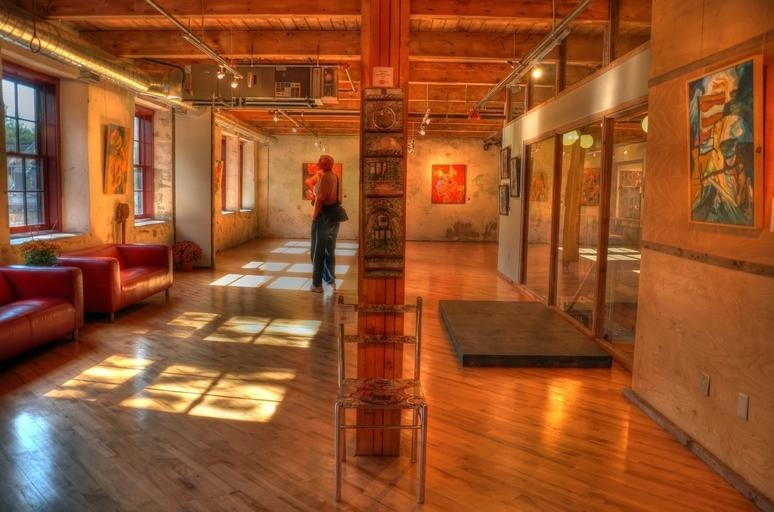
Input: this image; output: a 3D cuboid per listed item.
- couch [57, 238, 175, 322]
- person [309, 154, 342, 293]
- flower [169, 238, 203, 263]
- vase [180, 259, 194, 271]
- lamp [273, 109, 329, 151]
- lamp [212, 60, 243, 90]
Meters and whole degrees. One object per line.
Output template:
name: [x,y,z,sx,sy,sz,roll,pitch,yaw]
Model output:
couch: [-4.304,0.325,8.494,1.033,0.868,1.847,3,8,1]
person: [-1.101,-0.563,9.762,0.562,2.501,0.797,0,13,-8]
flower: [-4.335,-0.123,11.642,0.508,0.343,0.493,0,-1,-11]
vase: [-4.347,0.204,11.644,0.259,0.185,0.226,-1,3,-2]
lamp: [-2.662,-3.916,17.197,1.218,1.125,4.182,1,12,-4]
lamp: [-2.748,-3.201,9.408,0.470,0.408,1.377,-2,13,-17]
